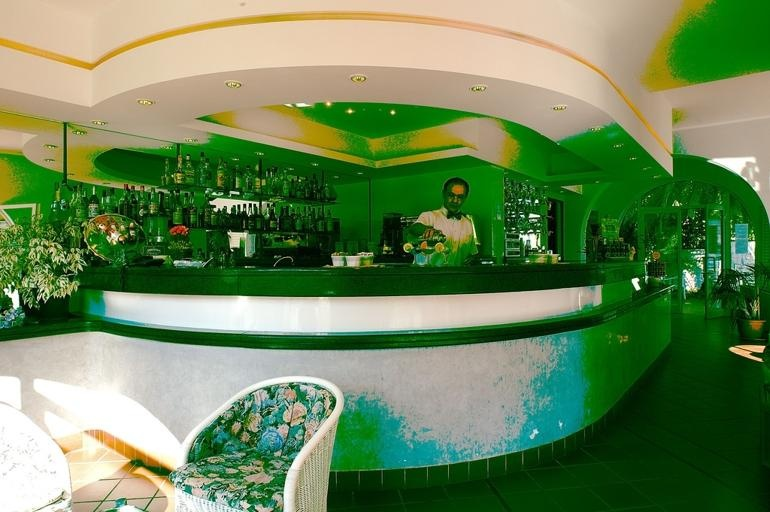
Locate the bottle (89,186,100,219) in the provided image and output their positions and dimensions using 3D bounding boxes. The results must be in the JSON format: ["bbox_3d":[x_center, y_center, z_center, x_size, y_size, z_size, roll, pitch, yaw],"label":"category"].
[{"bbox_3d":[-3.221,-0.606,5.978,0.105,0.303,0.220,-5,14,-18],"label":"bottle"}]

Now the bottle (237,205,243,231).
[{"bbox_3d":[-1.815,-0.473,6.835,0.067,0.290,0.086,-5,14,-15],"label":"bottle"}]

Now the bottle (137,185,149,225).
[{"bbox_3d":[-2.803,-0.603,6.287,0.134,0.416,0.262,-5,14,-18],"label":"bottle"}]

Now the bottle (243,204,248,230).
[{"bbox_3d":[-1.779,-0.498,6.865,0.070,0.316,0.105,-4,14,-13],"label":"bottle"}]

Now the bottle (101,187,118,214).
[{"bbox_3d":[-3.099,-0.629,6.061,0.122,0.268,0.190,11,18,42],"label":"bottle"}]

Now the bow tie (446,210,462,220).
[{"bbox_3d":[0.887,-0.491,6.604,0.142,0.091,0.140,1,1,28],"label":"bow tie"}]

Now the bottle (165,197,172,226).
[{"bbox_3d":[-2.548,-0.551,6.388,0.078,0.321,0.244,-6,14,-21],"label":"bottle"}]

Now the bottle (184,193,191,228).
[{"bbox_3d":[-2.338,-0.557,6.413,0.103,0.377,0.177,-5,14,-18],"label":"bottle"}]

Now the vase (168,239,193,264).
[{"bbox_3d":[-2.335,-0.093,6.165,0.243,0.227,0.255,-5,14,-16],"label":"vase"}]

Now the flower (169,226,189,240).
[{"bbox_3d":[-2.317,-0.254,6.106,0.180,0.167,0.182,2,3,40],"label":"flower"}]

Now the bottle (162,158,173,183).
[{"bbox_3d":[-2.591,-1.019,6.428,0.121,0.283,0.147,-6,14,-21],"label":"bottle"}]

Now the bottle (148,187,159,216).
[{"bbox_3d":[-2.708,-0.647,6.325,0.129,0.298,0.252,-6,14,-20],"label":"bottle"}]

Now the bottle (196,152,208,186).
[{"bbox_3d":[-2.220,-1.083,6.608,0.131,0.367,0.385,-5,14,-17],"label":"bottle"}]

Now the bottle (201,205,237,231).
[{"bbox_3d":[-2.048,-0.462,6.598,0.119,0.298,0.342,2,-1,38],"label":"bottle"}]

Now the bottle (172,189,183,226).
[{"bbox_3d":[-2.437,-0.566,6.344,0.125,0.369,0.254,-4,14,-13],"label":"bottle"}]

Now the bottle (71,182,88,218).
[{"bbox_3d":[-3.363,-0.599,5.959,0.165,0.382,0.175,-1,13,0],"label":"bottle"}]

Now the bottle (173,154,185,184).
[{"bbox_3d":[-2.419,-1.023,6.366,0.130,0.317,0.487,-6,14,-19],"label":"bottle"}]

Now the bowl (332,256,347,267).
[{"bbox_3d":[-0.382,0.051,4.580,0.114,0.076,0.088,1,0,14],"label":"bowl"}]
